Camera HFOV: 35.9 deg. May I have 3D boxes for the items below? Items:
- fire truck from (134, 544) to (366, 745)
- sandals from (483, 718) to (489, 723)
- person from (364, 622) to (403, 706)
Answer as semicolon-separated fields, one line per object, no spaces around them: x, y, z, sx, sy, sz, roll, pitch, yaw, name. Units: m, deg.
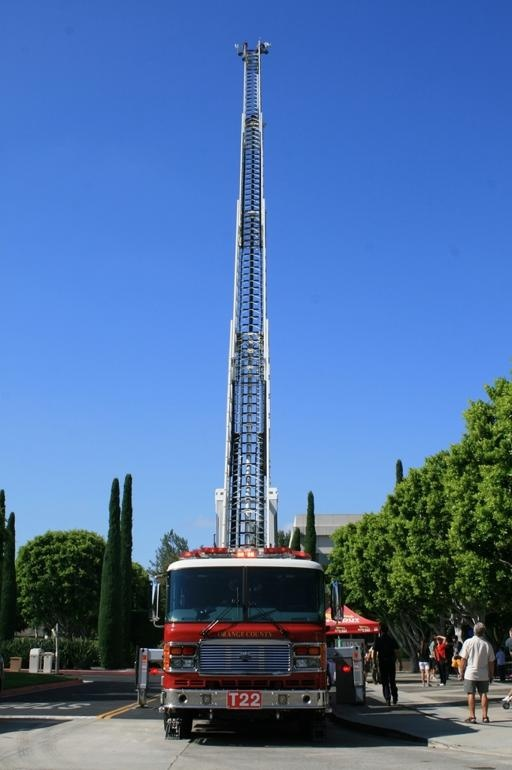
-0.038;4.316;13.105;2.737;2.938;5.065;-1;-19;1;fire truck
3.853;5.550;13.146;0.050;0.044;0.146;-2;-21;3;sandals
2.958;6.377;17.894;0.461;1.594;1.678;-2;-14;8;person
